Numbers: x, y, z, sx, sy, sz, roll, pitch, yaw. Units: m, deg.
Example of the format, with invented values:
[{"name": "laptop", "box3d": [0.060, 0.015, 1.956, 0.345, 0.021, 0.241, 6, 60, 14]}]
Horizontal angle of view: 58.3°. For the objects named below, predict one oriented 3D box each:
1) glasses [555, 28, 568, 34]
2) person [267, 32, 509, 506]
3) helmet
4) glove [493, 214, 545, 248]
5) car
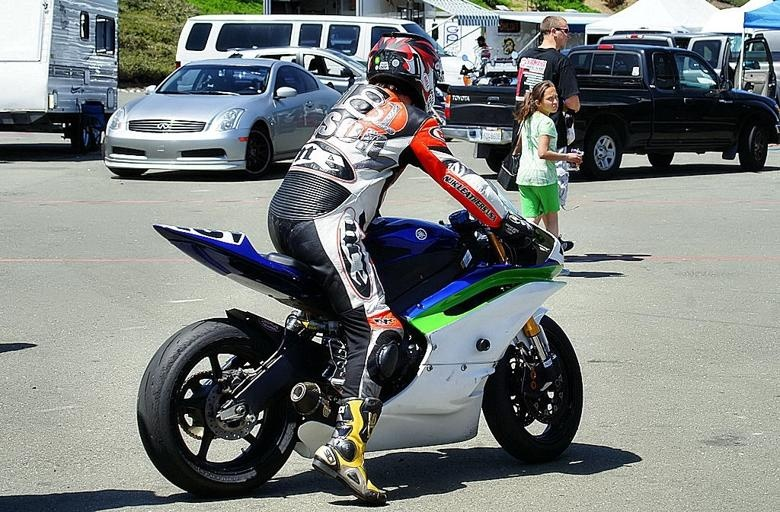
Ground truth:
[{"name": "glasses", "box3d": [2.270, -2.973, 9.166, 0.094, 0.027, 0.092, 25, 0, 30]}, {"name": "person", "box3d": [-0.109, 0.015, 3.748, 1.089, 2.391, 0.822, -10, 18, -37]}, {"name": "helmet", "box3d": [0.175, -1.048, 3.950, 0.355, 0.385, 0.470, 8, 11, 26]}, {"name": "glove", "box3d": [0.703, -0.137, 3.837, 0.267, 0.158, 0.101, 21, 30, -45]}, {"name": "car", "box3d": [-3.627, -3.430, 16.050, 3.065, 1.808, 5.766, 0, 3, 20]}]
